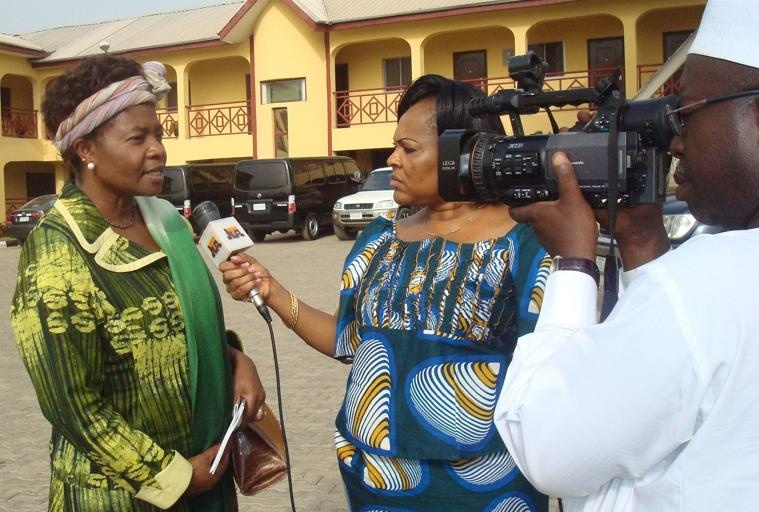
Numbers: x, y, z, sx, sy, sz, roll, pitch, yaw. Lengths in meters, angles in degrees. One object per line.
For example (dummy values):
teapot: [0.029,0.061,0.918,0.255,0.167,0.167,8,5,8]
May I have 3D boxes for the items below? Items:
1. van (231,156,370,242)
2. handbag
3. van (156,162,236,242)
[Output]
van: [-1.853,-1.359,18.451,1.715,1.826,3.881,0,7,21]
handbag: [-0.399,0.673,2.848,0.315,0.342,0.179,-3,16,2]
van: [-4.202,-1.467,19.821,1.642,1.691,3.257,-1,8,32]
